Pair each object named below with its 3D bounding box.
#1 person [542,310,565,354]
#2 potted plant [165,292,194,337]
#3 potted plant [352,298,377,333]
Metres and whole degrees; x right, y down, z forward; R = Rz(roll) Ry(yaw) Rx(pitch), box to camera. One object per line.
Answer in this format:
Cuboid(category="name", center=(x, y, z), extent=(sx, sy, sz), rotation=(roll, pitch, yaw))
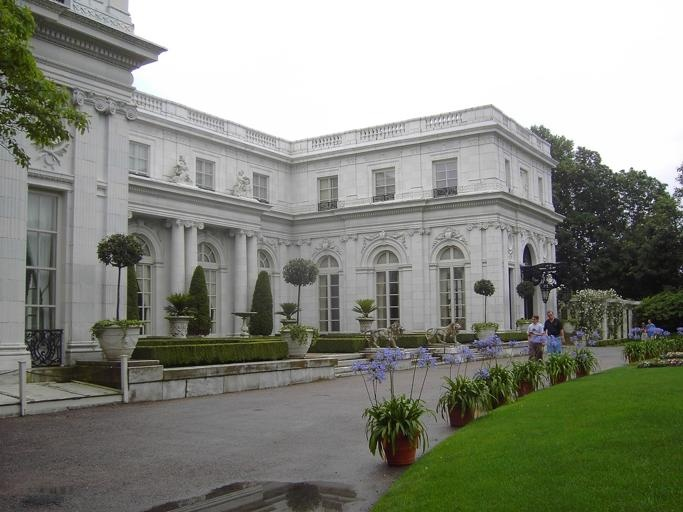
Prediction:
Cuboid(category="person", center=(6.268, 2.411, 18.189), extent=(0.602, 1.490, 0.468), rotation=(-4, 11, 18))
Cuboid(category="potted plant", center=(-5.702, 2.111, 21.436), extent=(0.875, 1.469, 1.020), rotation=(-4, -8, 6))
Cuboid(category="potted plant", center=(1.065, 2.647, 28.110), extent=(1.522, 1.929, 1.620), rotation=(0, -9, 2))
